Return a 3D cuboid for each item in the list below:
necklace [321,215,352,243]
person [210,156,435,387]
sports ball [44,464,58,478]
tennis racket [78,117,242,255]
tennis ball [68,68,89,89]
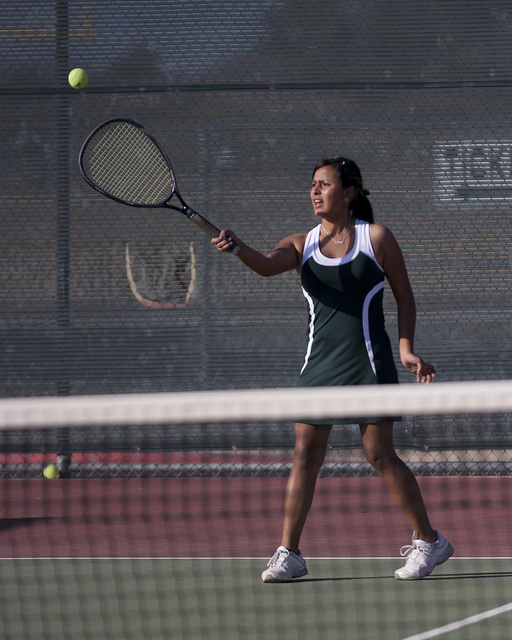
[{"bbox_3d":[0.314,-0.348,3.493,0.149,0.110,0.017,-8,-13,-1],"label":"necklace"},{"bbox_3d":[0.306,-0.182,3.485,0.689,0.879,0.447,-1,6,1],"label":"person"},{"bbox_3d":[-1.162,0.858,5.163,0.093,0.074,0.076,2,-2,2],"label":"sports ball"},{"bbox_3d":[-0.476,-0.734,3.709,0.364,0.063,0.962,7,-26,-7],"label":"tennis racket"},{"bbox_3d":[-1.014,-1.387,5.186,0.103,0.119,0.086,-1,6,2],"label":"tennis ball"}]
